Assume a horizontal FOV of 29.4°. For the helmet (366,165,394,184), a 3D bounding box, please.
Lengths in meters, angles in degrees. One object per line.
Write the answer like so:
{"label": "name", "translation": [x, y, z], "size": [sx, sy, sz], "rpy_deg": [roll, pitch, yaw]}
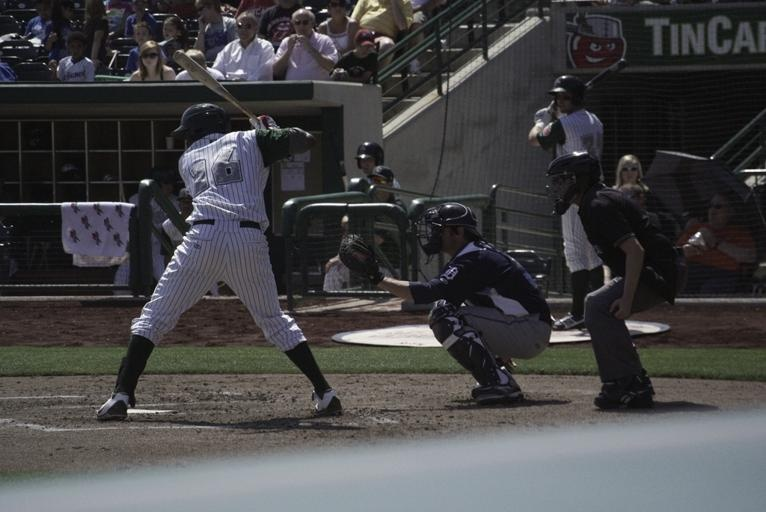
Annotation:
{"label": "helmet", "translation": [0.029, -1.235, 22.365], "size": [0.379, 0.162, 0.260], "rpy_deg": [18, -5, -40]}

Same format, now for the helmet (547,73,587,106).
{"label": "helmet", "translation": [2.544, -2.256, 19.626], "size": [0.615, 0.363, 0.395], "rpy_deg": [3, 4, -1]}

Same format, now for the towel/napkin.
{"label": "towel/napkin", "translation": [-4.385, -0.341, 22.362], "size": [1.251, 0.864, 0.168], "rpy_deg": [0, 7, 2]}

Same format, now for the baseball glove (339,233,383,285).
{"label": "baseball glove", "translation": [-0.209, 0.046, 16.571], "size": [0.692, 0.415, 0.293], "rpy_deg": [35, -9, 0]}

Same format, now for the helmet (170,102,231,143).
{"label": "helmet", "translation": [-2.064, -1.534, 16.674], "size": [0.647, 0.361, 0.417], "rpy_deg": [-17, 15, 2]}

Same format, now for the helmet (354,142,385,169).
{"label": "helmet", "translation": [-0.190, -1.556, 22.590], "size": [0.399, 0.306, 0.468], "rpy_deg": [-3, -6, 34]}
